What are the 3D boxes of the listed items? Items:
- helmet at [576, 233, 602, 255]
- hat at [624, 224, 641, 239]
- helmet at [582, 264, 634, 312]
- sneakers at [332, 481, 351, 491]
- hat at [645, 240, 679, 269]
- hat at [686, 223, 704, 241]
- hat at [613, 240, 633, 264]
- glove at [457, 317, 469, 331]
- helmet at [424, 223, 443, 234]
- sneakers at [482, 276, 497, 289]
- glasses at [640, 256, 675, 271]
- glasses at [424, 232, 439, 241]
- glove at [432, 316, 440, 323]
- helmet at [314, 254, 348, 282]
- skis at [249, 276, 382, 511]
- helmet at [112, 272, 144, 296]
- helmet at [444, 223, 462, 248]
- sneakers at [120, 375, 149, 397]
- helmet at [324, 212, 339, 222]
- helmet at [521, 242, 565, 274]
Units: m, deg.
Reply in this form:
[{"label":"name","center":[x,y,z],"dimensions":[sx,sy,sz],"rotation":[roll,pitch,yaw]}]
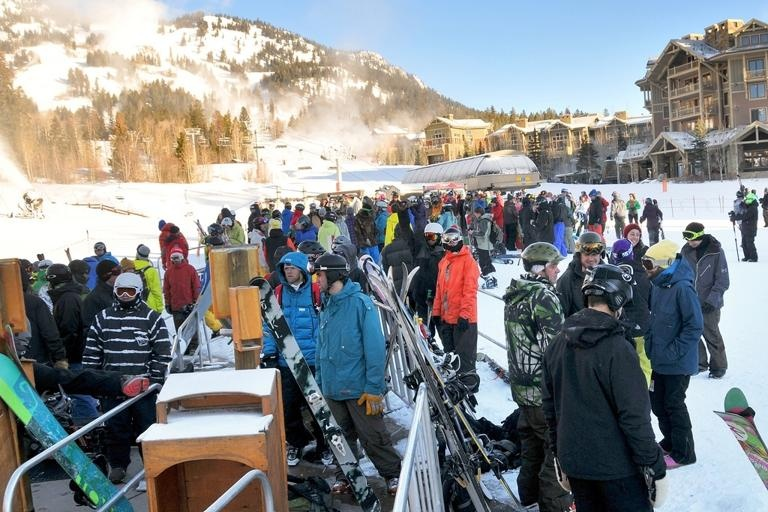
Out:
[{"label":"helmet","center":[2.439,-0.145,7.292],"dimensions":[0.221,0.230,0.290],"rotation":[1,-5,9]},{"label":"hat","center":[3.827,-0.400,9.512],"dimensions":[0.196,0.257,0.272],"rotation":[3,-16,18]},{"label":"helmet","center":[2.048,0.269,5.415],"dimensions":[0.453,0.457,0.361],"rotation":[10,1,-38]},{"label":"sneakers","center":[-0.476,2.575,6.874],"dimensions":[0.083,0.111,0.198],"rotation":[19,-17,-33]},{"label":"hat","center":[3.414,-0.020,7.541],"dimensions":[0.366,0.284,0.275],"rotation":[-13,1,-10]},{"label":"hat","center":[4.684,-0.379,9.319],"dimensions":[0.303,0.257,0.234],"rotation":[10,-12,-37]},{"label":"hat","center":[3.085,-0.077,7.988],"dimensions":[0.227,0.285,0.325],"rotation":[2,35,30]},{"label":"glove","center":[1.058,0.909,8.233],"dimensions":[0.119,0.167,0.062],"rotation":[2,4,6]},{"label":"helmet","center":[0.758,-0.425,9.445],"dimensions":[0.264,0.152,0.328],"rotation":[-2,8,1]},{"label":"sneakers","center":[2.664,0.668,15.586],"dimensions":[0.271,0.144,0.349],"rotation":[0,7,0]},{"label":"glasses","center":[3.312,0.063,7.459],"dimensions":[0.185,0.095,0.223],"rotation":[-4,11,-42]},{"label":"glasses","center":[0.747,-0.298,9.482],"dimensions":[0.110,0.134,0.150],"rotation":[-1,-6,9]},{"label":"glove","center":[0.770,0.939,9.107],"dimensions":[0.111,0.113,0.115],"rotation":[0,7,7]},{"label":"helmet","center":[-0.558,0.107,6.561],"dimensions":[0.320,0.304,0.261],"rotation":[-5,5,-5]},{"label":"skis","center":[-0.678,1.370,6.301],"dimensions":[0.286,2.659,0.146],"rotation":[-26,10,-29]},{"label":"helmet","center":[-3.025,0.325,7.322],"dimensions":[0.232,0.252,0.299],"rotation":[0,14,-5]},{"label":"helmet","center":[0.956,-0.252,8.532],"dimensions":[0.222,0.244,0.287],"rotation":[0,-5,7]},{"label":"sneakers","center":[-2.579,1.323,6.419],"dimensions":[0.160,0.181,0.377],"rotation":[-15,1,-16]},{"label":"helmet","center":[-1.365,-0.992,15.973],"dimensions":[0.341,0.273,0.251],"rotation":[-5,15,-33]},{"label":"helmet","center":[1.713,0.010,6.677],"dimensions":[0.389,0.262,0.284],"rotation":[-9,12,3]}]
